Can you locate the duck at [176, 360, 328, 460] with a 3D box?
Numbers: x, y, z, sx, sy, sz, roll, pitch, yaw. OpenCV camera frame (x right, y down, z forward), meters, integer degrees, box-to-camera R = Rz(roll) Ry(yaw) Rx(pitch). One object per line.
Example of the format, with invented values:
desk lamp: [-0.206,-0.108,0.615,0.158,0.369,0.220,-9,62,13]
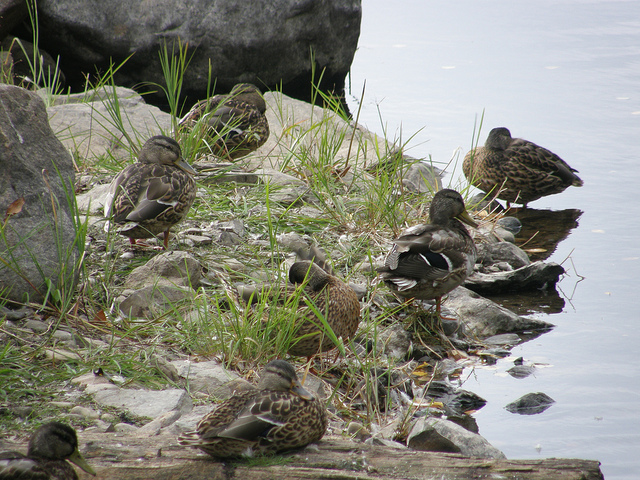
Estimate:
duck: [-0.405,0.988,4.446,0.508,0.426,0.966,15,13,38]
